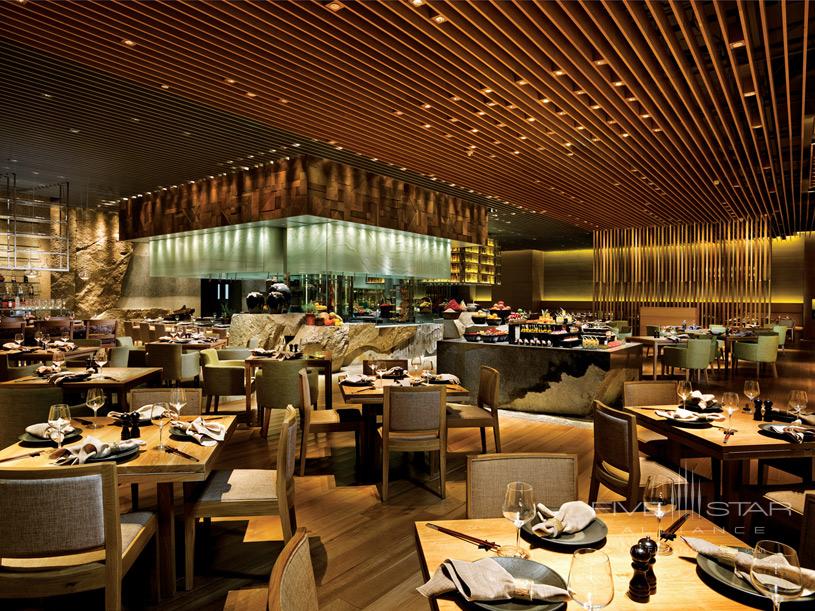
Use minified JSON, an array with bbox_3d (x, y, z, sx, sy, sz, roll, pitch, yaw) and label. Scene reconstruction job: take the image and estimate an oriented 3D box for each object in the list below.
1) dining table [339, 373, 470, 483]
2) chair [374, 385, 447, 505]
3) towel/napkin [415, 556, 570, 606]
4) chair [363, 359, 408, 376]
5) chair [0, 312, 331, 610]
[{"bbox_3d":[-0.037,1.172,5.268,1.194,0.727,1.118,2,-4,5],"label":"dining table"},{"bbox_3d":[0.046,1.173,4.987,0.567,0.908,0.618,-1,0,-3],"label":"chair"},{"bbox_3d":[0.323,1.090,2.216,0.374,0.075,0.228,-2,-3,-6],"label":"towel/napkin"},{"bbox_3d":[-0.295,0.663,6.336,0.409,0.167,0.171,1,14,-14],"label":"chair"},{"bbox_3d":[-1.466,1.185,3.690,1.753,0.897,1.323,-1,0,1],"label":"chair"}]
